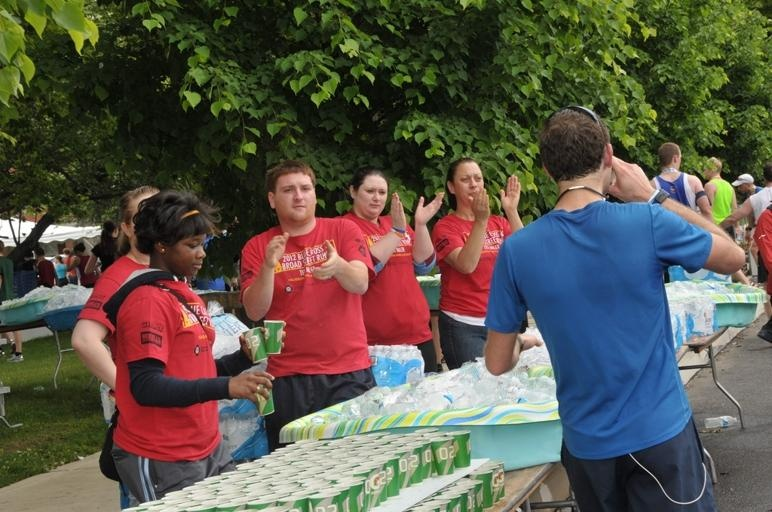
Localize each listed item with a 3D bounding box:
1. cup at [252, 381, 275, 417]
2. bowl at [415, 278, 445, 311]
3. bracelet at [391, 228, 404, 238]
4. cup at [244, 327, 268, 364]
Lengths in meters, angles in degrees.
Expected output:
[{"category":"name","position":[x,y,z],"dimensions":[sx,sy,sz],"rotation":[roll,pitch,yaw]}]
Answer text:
[{"category":"cup","position":[-0.741,0.871,4.379],"dimensions":[0.098,0.229,0.193],"rotation":[-7,7,-13]},{"category":"bowl","position":[0.547,0.447,8.698],"dimensions":[0.348,0.303,0.346],"rotation":[0,-1,0]},{"category":"bracelet","position":[0.104,-0.207,6.507],"dimensions":[0.092,0.055,0.076],"rotation":[20,-1,33]},{"category":"cup","position":[-0.831,0.584,4.680],"dimensions":[0.142,0.211,0.158],"rotation":[-16,-11,30]}]
